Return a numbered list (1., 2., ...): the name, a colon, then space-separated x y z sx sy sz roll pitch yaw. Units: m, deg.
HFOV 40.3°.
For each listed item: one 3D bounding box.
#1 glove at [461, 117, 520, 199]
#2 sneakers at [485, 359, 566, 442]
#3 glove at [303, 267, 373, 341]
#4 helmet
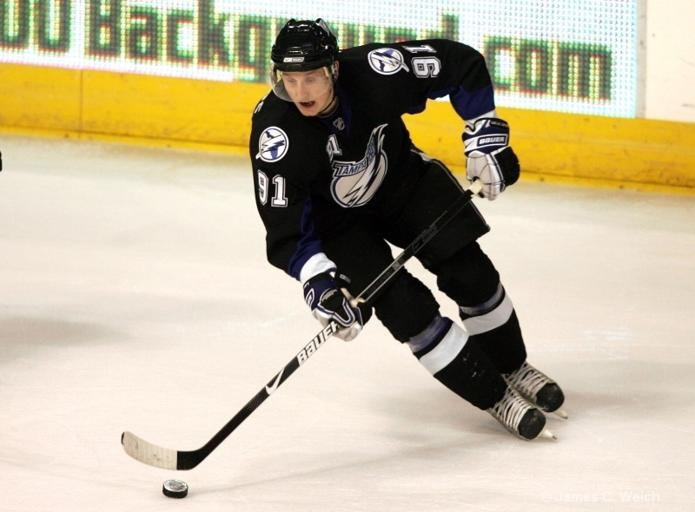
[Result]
1. glove: 0.479 -0.328 3.143 0.194 0.255 0.122 -6 10 8
2. sneakers: 0.583 0.479 3.094 0.101 0.163 0.277 36 -1 -30
3. glove: -0.033 0.159 2.937 0.182 0.234 0.108 -39 12 -8
4. helmet: -0.125 -0.608 2.940 0.221 0.252 0.262 5 27 18
